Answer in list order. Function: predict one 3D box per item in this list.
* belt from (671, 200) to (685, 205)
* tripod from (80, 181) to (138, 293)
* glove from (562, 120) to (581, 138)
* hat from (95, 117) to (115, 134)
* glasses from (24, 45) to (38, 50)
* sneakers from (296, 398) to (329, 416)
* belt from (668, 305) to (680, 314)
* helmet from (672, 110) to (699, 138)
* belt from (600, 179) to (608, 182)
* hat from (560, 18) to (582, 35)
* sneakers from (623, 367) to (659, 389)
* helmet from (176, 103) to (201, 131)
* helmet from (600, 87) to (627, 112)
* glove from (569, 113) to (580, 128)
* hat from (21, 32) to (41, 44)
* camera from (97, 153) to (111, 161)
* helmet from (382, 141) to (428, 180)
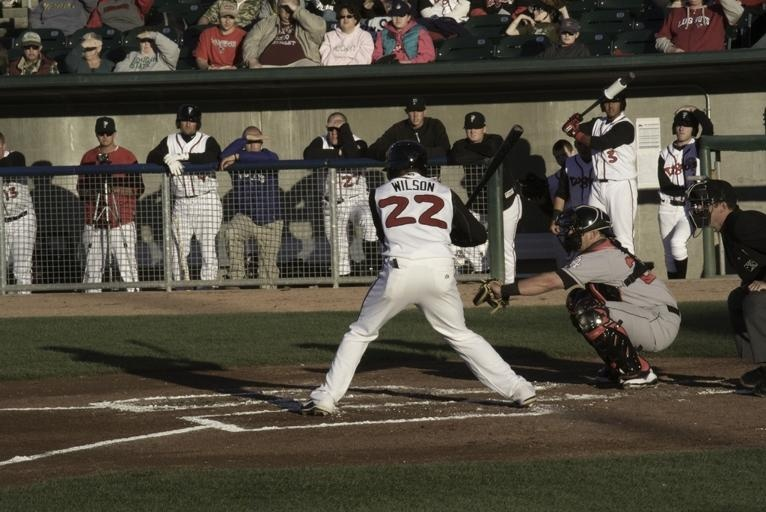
[{"bbox_3d":[4.044,-0.715,23.091,0.185,0.081,0.231,2,-2,1],"label":"belt"},{"bbox_3d":[-3.751,-0.194,23.145,0.984,1.362,0.320,-1,-2,-2],"label":"tripod"},{"bbox_3d":[2.477,-1.632,22.098,0.238,0.122,0.237,2,0,24],"label":"glove"},{"bbox_3d":[-3.882,-1.794,23.574,0.246,0.167,0.311,2,5,-9],"label":"hat"},{"bbox_3d":[-5.210,-3.060,25.020,0.215,0.051,0.069,-1,1,-32],"label":"glasses"},{"bbox_3d":[-0.736,1.665,18.508,0.372,0.179,0.123,0,1,18],"label":"sneakers"},{"bbox_3d":[3.314,0.613,19.317,0.100,0.060,0.131,10,10,-45],"label":"belt"},{"bbox_3d":[4.191,-1.808,23.239,0.366,0.315,0.370,0,-1,22],"label":"helmet"},{"bbox_3d":[2.975,-0.994,22.770,0.117,0.031,0.024,0,1,16],"label":"belt"},{"bbox_3d":[2.691,-3.280,24.354,0.264,0.249,0.227,0,1,2],"label":"hat"},{"bbox_3d":[2.930,1.426,19.248,0.416,0.165,0.175,-1,-4,-14],"label":"sneakers"},{"bbox_3d":[-2.672,-1.901,23.302,0.342,0.283,0.384,2,18,-1],"label":"helmet"},{"bbox_3d":[3.101,-2.096,22.672,0.382,0.335,0.480,-3,-4,12],"label":"helmet"},{"bbox_3d":[2.513,-1.746,21.981,0.166,0.167,0.347,0,1,5],"label":"glove"},{"bbox_3d":[-5.230,-3.188,25.040,0.251,0.196,0.200,-1,1,-12],"label":"hat"},{"bbox_3d":[-3.881,-1.346,23.394,0.158,0.126,0.112,2,5,-2],"label":"camera"},{"bbox_3d":[0.242,-1.001,18.884,0.522,0.476,0.545,-3,-10,-8],"label":"helmet"}]
